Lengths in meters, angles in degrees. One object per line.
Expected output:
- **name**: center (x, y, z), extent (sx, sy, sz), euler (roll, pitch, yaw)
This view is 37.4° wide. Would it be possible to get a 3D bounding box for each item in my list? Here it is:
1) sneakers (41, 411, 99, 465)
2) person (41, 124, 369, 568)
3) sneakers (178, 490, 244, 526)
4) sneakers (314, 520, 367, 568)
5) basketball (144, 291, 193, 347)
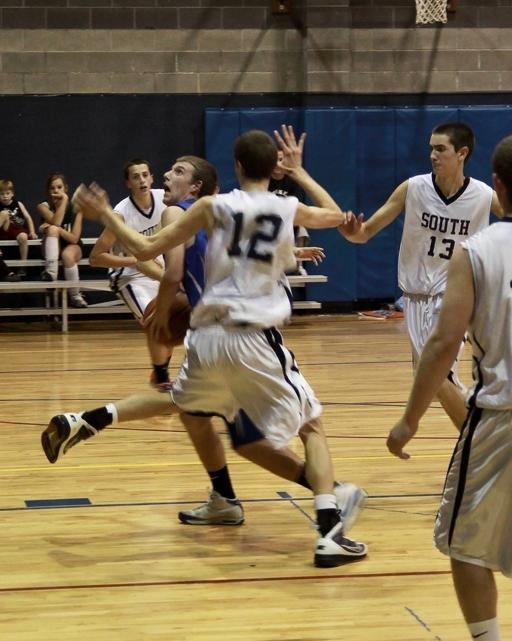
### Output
- **sneakers**: center (-0.640, 0.414, 2.602), extent (0.137, 0.094, 0.266), euler (-27, -9, -27)
- **person**: center (-0.110, 0.052, 2.426), extent (0.918, 1.324, 0.553), euler (0, 6, 2)
- **sneakers**: center (-0.140, 0.677, 2.733), extent (0.292, 0.127, 0.094), euler (1, -2, 2)
- **sneakers**: center (0.241, 0.674, 2.304), extent (0.237, 0.137, 0.075), euler (-3, 3, -42)
- **basketball**: center (-0.352, 0.012, 3.018), extent (0.225, 0.254, 0.113), euler (-2, 35, -17)
